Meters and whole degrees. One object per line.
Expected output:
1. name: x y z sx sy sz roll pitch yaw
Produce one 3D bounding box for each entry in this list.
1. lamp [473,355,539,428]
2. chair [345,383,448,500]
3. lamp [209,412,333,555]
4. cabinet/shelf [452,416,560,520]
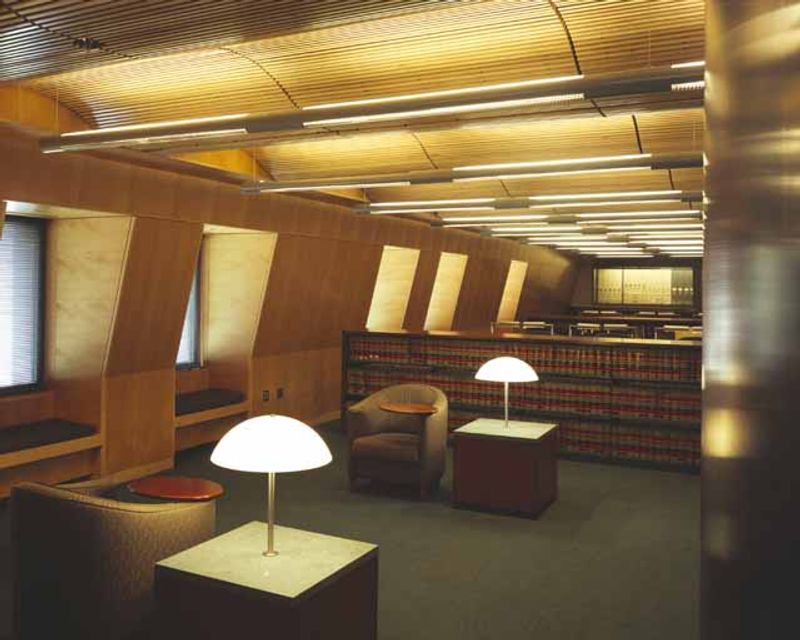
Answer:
1. lamp: 1.019 0.656 6.195 0.655 0.627 0.659 0 5 -2
2. chair: -0.026 1.343 7.334 1.076 1.043 1.258 1 4 14
3. lamp: -0.601 0.824 3.375 0.826 0.752 0.719 1 -1 1
4. cabinet/shelf: 1.068 1.460 6.484 0.869 0.826 0.690 2 4 28
